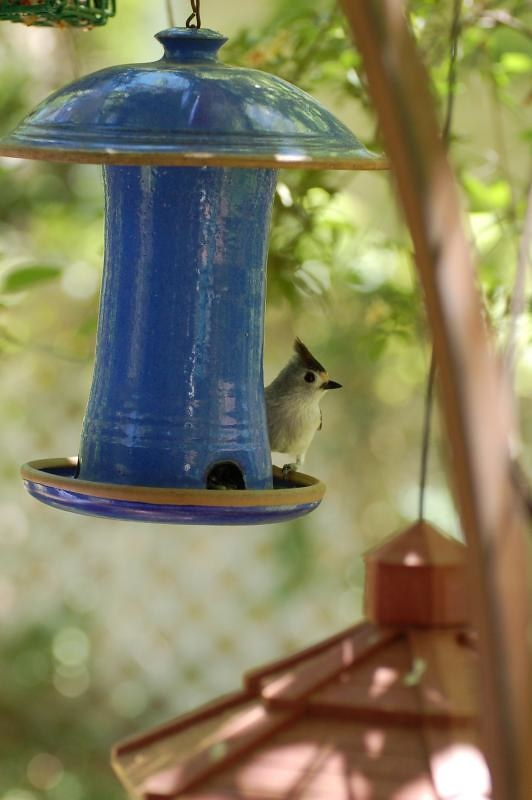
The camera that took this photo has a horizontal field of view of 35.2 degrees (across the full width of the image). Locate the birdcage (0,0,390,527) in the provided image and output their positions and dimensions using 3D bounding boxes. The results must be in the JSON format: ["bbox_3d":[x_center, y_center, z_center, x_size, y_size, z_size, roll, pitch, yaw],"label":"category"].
[{"bbox_3d":[-0.112,-0.199,1.202,0.537,0.761,0.593,-1,-21,3],"label":"birdcage"}]
